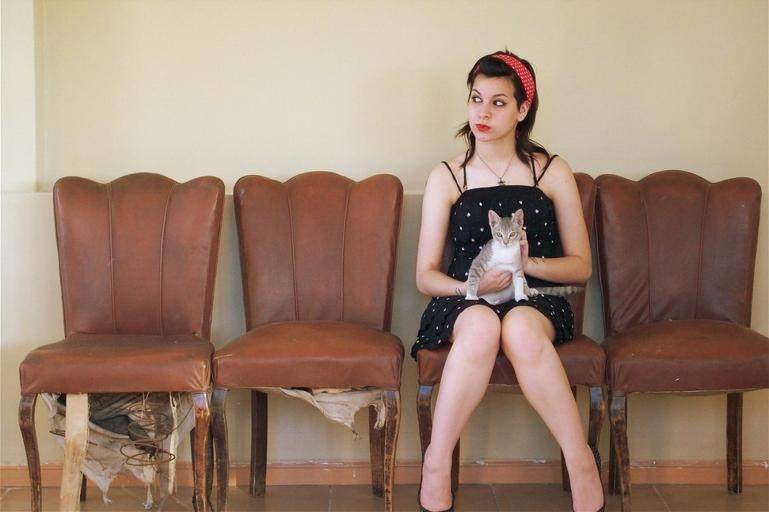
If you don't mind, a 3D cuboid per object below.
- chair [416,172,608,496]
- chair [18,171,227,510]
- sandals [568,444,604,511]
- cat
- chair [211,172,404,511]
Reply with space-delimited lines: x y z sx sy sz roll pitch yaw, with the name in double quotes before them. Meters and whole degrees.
"chair" 0.594 0.314 3.382 0.957 1.772 1.121 1 -7 3
"chair" -1.056 0.318 3.037 0.728 1.282 0.503 1 0 -9
"sandals" 0.834 0.878 2.913 0.078 0.243 0.068 -10 1 31
"cat" 0.577 0.009 3.007 0.491 0.358 0.281 -4 0 -16
"chair" -0.322 0.342 3.126 0.781 1.390 0.542 1 0 -3
